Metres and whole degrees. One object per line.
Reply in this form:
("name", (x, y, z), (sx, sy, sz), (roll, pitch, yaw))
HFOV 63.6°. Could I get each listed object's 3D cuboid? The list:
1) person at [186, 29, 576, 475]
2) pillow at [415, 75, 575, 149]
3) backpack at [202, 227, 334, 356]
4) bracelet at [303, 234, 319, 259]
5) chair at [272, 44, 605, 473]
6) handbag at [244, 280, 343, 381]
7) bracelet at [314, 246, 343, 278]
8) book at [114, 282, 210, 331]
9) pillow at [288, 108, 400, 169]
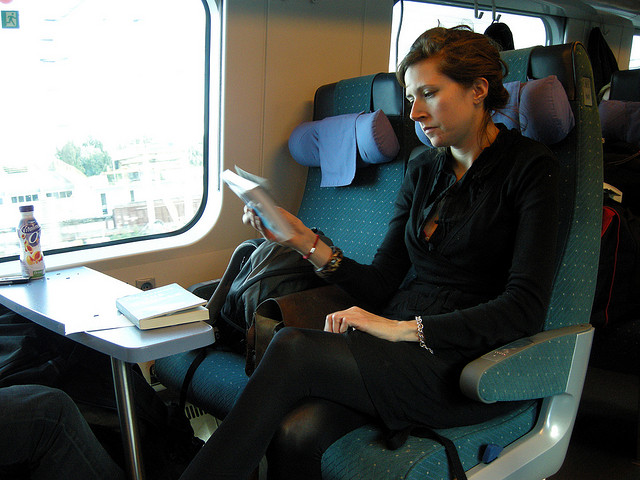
("person", (0.212, -0.015, 1.715), (1.164, 1.242, 0.680), (-13, 20, -15))
("pillow", (0.749, -0.453, 1.904), (0.337, 0.127, 0.324), (-23, 20, -33))
("backpack", (-0.278, 0.297, 2.376), (0.325, 0.471, 0.445), (22, -12, 17))
("bracelet", (-0.027, 0.030, 1.929), (0.018, 0.074, 0.075), (23, 56, 4))
("chair", (0.280, 0.070, 2.454), (1.471, 1.919, 1.156), (1, -1, -30))
("handbag", (-0.106, 0.370, 2.100), (0.213, 0.293, 0.422), (11, 5, 35))
("bracelet", (0.040, 0.094, 1.957), (0.096, 0.044, 0.113), (-4, 52, 39))
("book", (-0.521, 0.209, 1.665), (0.206, 0.064, 0.367), (-20, 23, -31))
("pillow", (0.131, -0.539, 2.724), (0.230, 0.253, 0.657), (-29, 22, -34))
